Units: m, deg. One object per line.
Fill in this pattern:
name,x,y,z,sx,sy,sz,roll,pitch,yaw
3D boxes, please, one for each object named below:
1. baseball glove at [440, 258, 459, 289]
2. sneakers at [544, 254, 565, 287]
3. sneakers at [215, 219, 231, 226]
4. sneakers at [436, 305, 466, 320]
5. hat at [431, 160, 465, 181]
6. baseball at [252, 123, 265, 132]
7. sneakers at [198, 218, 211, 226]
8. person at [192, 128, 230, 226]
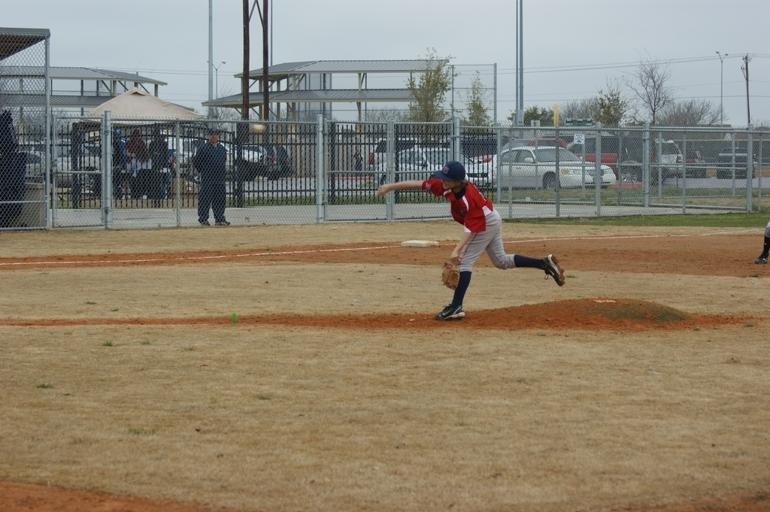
baseball glove,0.906,0.256,15.642,0.225,0.431,0.667,-1,5,3
sneakers,2.506,0.229,16.906,0.215,0.436,0.147,-19,27,25
sneakers,-3.786,-0.788,26.965,0.271,0.205,0.121,-4,6,-17
sneakers,0.896,0.758,15.335,0.430,0.215,0.161,0,-2,-6
hat,0.861,-1.111,15.138,0.383,0.200,0.248,8,21,-3
baseball,-3.041,-3.107,27.974,0.231,0.177,0.234,0,-2,-6
sneakers,-4.197,-0.784,26.763,0.204,0.201,0.142,-2,-1,5
person,-4.012,-1.796,26.571,0.734,2.221,0.570,-2,5,-9
